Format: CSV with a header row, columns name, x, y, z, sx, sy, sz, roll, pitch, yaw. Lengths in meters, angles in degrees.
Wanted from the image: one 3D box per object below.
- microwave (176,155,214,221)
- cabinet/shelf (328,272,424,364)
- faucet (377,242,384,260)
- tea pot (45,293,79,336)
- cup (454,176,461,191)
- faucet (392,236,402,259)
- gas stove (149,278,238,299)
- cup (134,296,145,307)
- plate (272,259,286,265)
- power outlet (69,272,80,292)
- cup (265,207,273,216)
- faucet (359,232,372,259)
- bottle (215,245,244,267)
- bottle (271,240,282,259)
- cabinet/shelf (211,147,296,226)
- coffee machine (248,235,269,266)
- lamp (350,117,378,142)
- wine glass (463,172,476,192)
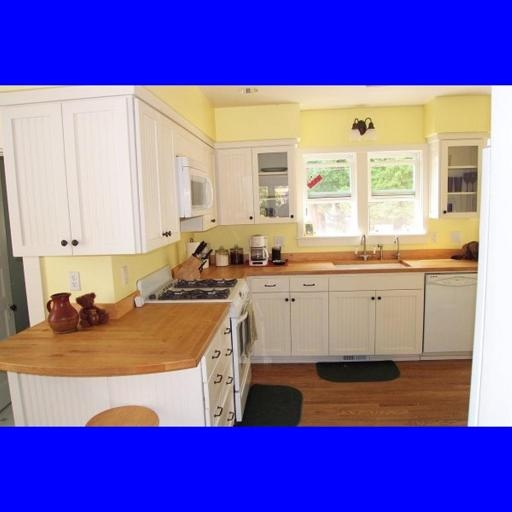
name,x,y,z,sx,sy,sz,roll,pitch,yaw
microwave,-0.348,-0.372,2.541,0.184,0.236,0.493,-1,6,4
cabinet/shelf,0.770,0.356,3.312,0.951,0.781,0.515,0,-1,5
faucet,0.940,-0.031,3.505,0.052,0.112,0.067,5,-1,36
tea pot,-0.758,0.233,1.872,0.157,0.171,0.140,-4,5,-34
cup,1.242,-0.442,2.845,0.048,0.083,0.022,6,-1,18
faucet,1.048,-0.058,3.455,0.062,0.170,0.079,6,-1,33
gas stove,-0.336,0.184,2.546,0.424,0.117,0.591,5,0,1
cup,-0.575,0.222,2.259,0.040,0.061,0.076,6,-1,1
plate,0.164,0.050,3.417,0.101,0.046,0.133,5,0,2
power outlet,-0.811,0.115,2.050,0.057,0.095,0.016,6,-1,13
cup,0.095,-0.319,3.358,0.063,0.059,0.059,0,3,0
faucet,0.823,-0.069,3.512,0.084,0.185,0.117,6,-1,27
bottle,-0.196,0.012,3.455,0.220,0.136,0.117,-3,9,-14
bottle,0.154,-0.043,3.543,0.088,0.155,0.156,6,-1,1
cabinet/shelf,-0.019,-0.524,3.312,0.648,0.545,0.236,0,5,1
coffee machine,0.014,-0.032,3.383,0.213,0.252,0.198,0,4,1
lamp,0.773,-0.918,3.360,0.198,0.174,0.175,1,16,9
wine glass,1.271,-0.443,2.742,0.053,0.115,0.134,6,0,9
